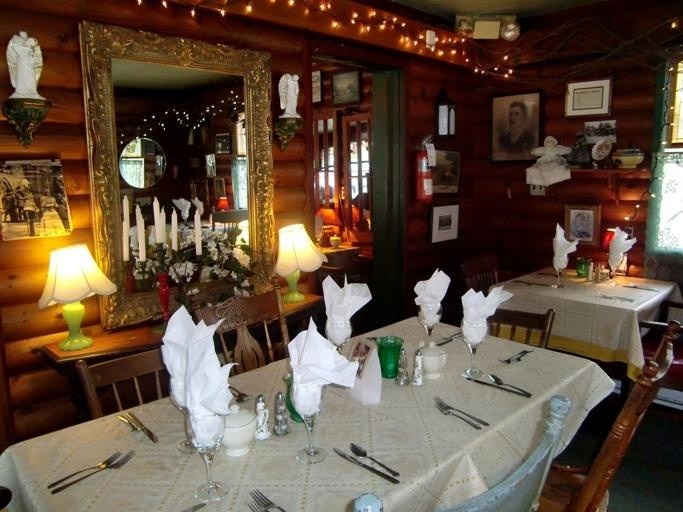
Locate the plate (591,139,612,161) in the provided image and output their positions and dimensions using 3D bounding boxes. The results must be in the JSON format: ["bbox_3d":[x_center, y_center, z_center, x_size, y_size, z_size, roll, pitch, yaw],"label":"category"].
[{"bbox_3d":[2.352,-0.960,4.429,0.167,0.204,0.088,3,13,31],"label":"plate"}]

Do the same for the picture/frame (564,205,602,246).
[{"bbox_3d":[2.266,-0.286,4.575,0.035,0.461,0.356,-8,13,-38],"label":"picture/frame"}]

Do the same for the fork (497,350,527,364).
[{"bbox_3d":[0.895,0.517,2.528,0.056,0.030,0.208,4,12,40],"label":"fork"}]

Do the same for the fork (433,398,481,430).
[{"bbox_3d":[0.477,0.653,2.047,0.207,0.032,0.061,28,28,38],"label":"fork"}]

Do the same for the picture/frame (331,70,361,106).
[{"bbox_3d":[0.067,-1.918,5.602,0.397,0.360,0.055,9,14,44],"label":"picture/frame"}]

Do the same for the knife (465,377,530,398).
[{"bbox_3d":[0.707,0.600,2.230,0.253,0.030,0.038,5,5,35],"label":"knife"}]

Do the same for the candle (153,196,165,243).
[{"bbox_3d":[-1.134,-0.211,3.047,0.066,0.252,0.165,-9,12,-20],"label":"candle"}]

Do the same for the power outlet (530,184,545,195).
[{"bbox_3d":[1.933,-0.644,4.837,0.087,0.121,0.157,0,0,-33],"label":"power outlet"}]

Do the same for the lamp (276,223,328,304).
[{"bbox_3d":[-0.334,0.052,3.554,0.397,0.516,0.425,-7,11,-8],"label":"lamp"}]

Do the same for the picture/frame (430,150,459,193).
[{"bbox_3d":[1.039,-0.866,5.002,0.420,0.410,0.019,-4,8,-35],"label":"picture/frame"}]

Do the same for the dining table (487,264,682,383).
[{"bbox_3d":[1.865,0.398,3.563,0.905,0.372,0.925,11,19,41],"label":"dining table"}]

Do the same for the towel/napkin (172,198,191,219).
[{"bbox_3d":[-1.072,-0.317,3.266,0.060,0.152,0.131,9,13,44],"label":"towel/napkin"}]

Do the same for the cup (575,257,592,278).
[{"bbox_3d":[2.104,0.103,4.240,0.171,0.180,0.119,2,-2,-9],"label":"cup"}]

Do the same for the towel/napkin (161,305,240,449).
[{"bbox_3d":[-0.494,0.401,1.706,0.207,0.423,0.327,-10,13,-25],"label":"towel/napkin"}]

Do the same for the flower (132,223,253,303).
[{"bbox_3d":[-0.859,0.024,3.454,0.505,0.408,0.281,-7,-27,13],"label":"flower"}]

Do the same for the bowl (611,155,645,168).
[{"bbox_3d":[2.463,-0.804,4.217,0.154,0.074,0.159,1,4,0],"label":"bowl"}]

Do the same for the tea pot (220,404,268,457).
[{"bbox_3d":[-0.385,0.666,1.881,0.202,0.159,0.161,-3,3,-11],"label":"tea pot"}]

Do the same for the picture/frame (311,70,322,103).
[{"bbox_3d":[-0.294,-2.047,5.953,0.048,0.379,0.168,-11,14,-31],"label":"picture/frame"}]

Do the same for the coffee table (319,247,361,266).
[{"bbox_3d":[-0.062,-0.008,5.179,0.187,0.179,0.353,17,22,40],"label":"coffee table"}]

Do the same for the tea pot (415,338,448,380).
[{"bbox_3d":[0.432,0.494,2.362,0.160,0.171,0.111,2,10,8],"label":"tea pot"}]

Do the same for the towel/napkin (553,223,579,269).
[{"bbox_3d":[1.764,-0.046,3.878,0.166,0.402,0.340,1,13,25],"label":"towel/napkin"}]

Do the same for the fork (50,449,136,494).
[{"bbox_3d":[-0.889,0.770,1.764,0.081,0.024,0.279,16,21,35],"label":"fork"}]

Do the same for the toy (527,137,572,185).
[{"bbox_3d":[1.936,-0.870,4.592,0.407,0.452,0.148,4,-3,41],"label":"toy"}]

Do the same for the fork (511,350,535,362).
[{"bbox_3d":[0.936,0.514,2.543,0.048,0.019,0.158,7,10,38],"label":"fork"}]

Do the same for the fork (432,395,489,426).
[{"bbox_3d":[0.485,0.647,2.055,0.258,0.039,0.069,25,27,36],"label":"fork"}]

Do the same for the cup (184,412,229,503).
[{"bbox_3d":[-0.468,0.645,1.690,0.122,0.309,0.213,-10,13,-24],"label":"cup"}]

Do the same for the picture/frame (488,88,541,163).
[{"bbox_3d":[1.766,-1.322,4.953,0.087,0.944,0.719,-13,16,-40],"label":"picture/frame"}]

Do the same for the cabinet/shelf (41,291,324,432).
[{"bbox_3d":[-0.906,0.815,3.082,1.520,0.768,0.535,-19,-9,14],"label":"cabinet/shelf"}]

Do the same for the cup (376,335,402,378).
[{"bbox_3d":[0.231,0.498,2.372,0.128,0.153,0.133,0,0,0],"label":"cup"}]

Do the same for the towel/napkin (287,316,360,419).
[{"bbox_3d":[-0.047,0.412,1.780,0.202,0.221,0.141,29,-12,13],"label":"towel/napkin"}]

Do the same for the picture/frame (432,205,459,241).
[{"bbox_3d":[1.089,-0.339,5.128,0.033,0.370,0.406,4,-2,-29],"label":"picture/frame"}]

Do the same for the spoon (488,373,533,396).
[{"bbox_3d":[0.763,0.586,2.248,0.050,0.040,0.229,-23,27,-29],"label":"spoon"}]

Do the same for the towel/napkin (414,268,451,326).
[{"bbox_3d":[0.460,0.260,2.465,0.114,0.296,0.130,-25,32,-24],"label":"towel/napkin"}]
